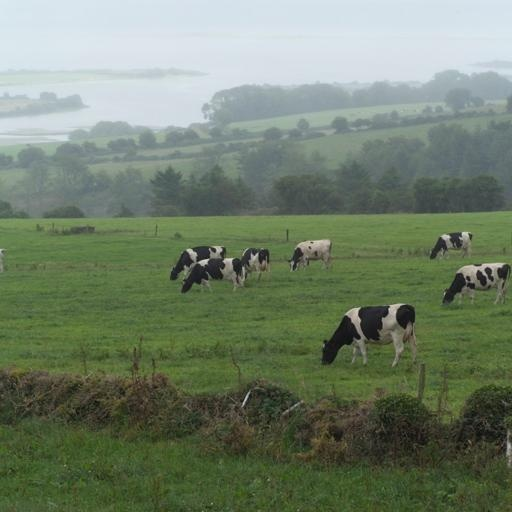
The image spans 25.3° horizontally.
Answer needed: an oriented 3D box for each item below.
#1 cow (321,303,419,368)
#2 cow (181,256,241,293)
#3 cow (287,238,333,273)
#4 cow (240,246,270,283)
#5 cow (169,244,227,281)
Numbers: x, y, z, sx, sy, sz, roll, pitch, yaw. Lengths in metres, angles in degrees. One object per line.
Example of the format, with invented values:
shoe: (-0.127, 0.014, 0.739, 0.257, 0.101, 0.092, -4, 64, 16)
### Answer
cow: (4.188, 2.779, 41.312, 3.188, 2.255, 1.090, 3, 11, 18)
cow: (-2.031, 1.031, 53.199, 2.169, 1.730, 2.370, -8, 15, -36)
cow: (2.807, -0.061, 58.427, 2.054, 1.321, 1.470, -1, 11, -2)
cow: (-0.005, 0.367, 55.777, 1.289, 1.657, 1.233, -1, 11, -1)
cow: (-2.889, 0.357, 57.658, 2.997, 1.913, 0.822, -7, 25, -10)
